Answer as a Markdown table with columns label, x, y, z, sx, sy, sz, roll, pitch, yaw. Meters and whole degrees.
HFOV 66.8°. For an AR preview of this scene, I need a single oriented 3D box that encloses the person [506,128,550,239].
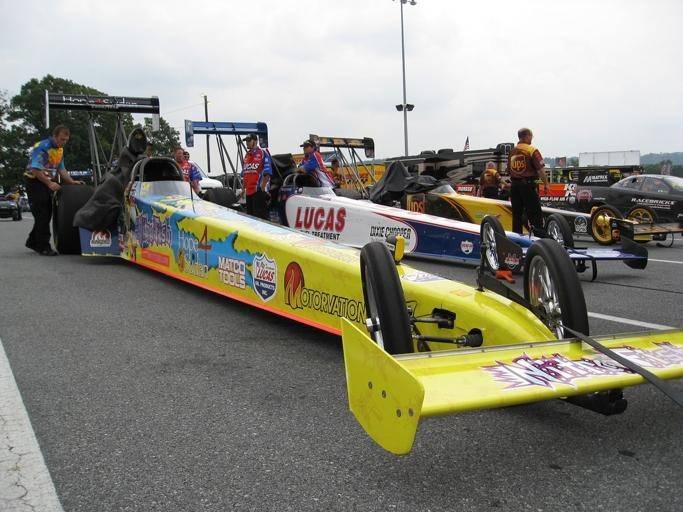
| label | x | y | z | sx | sy | sz | roll | pitch | yaw |
| --- | --- | --- | --- | --- | --- | --- | --- | --- | --- |
| person | 3.271 | -1.299 | 8.997 | 0.628 | 1.979 | 0.765 | -25 | 29 | -30 |

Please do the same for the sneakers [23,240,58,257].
| label | x | y | z | sx | sy | sz | roll | pitch | yaw |
| --- | --- | --- | --- | --- | --- | --- | --- | --- | --- |
| sneakers | -5.363 | -0.144 | 9.095 | 0.442 | 0.196 | 0.156 | 16 | 20 | 19 |
